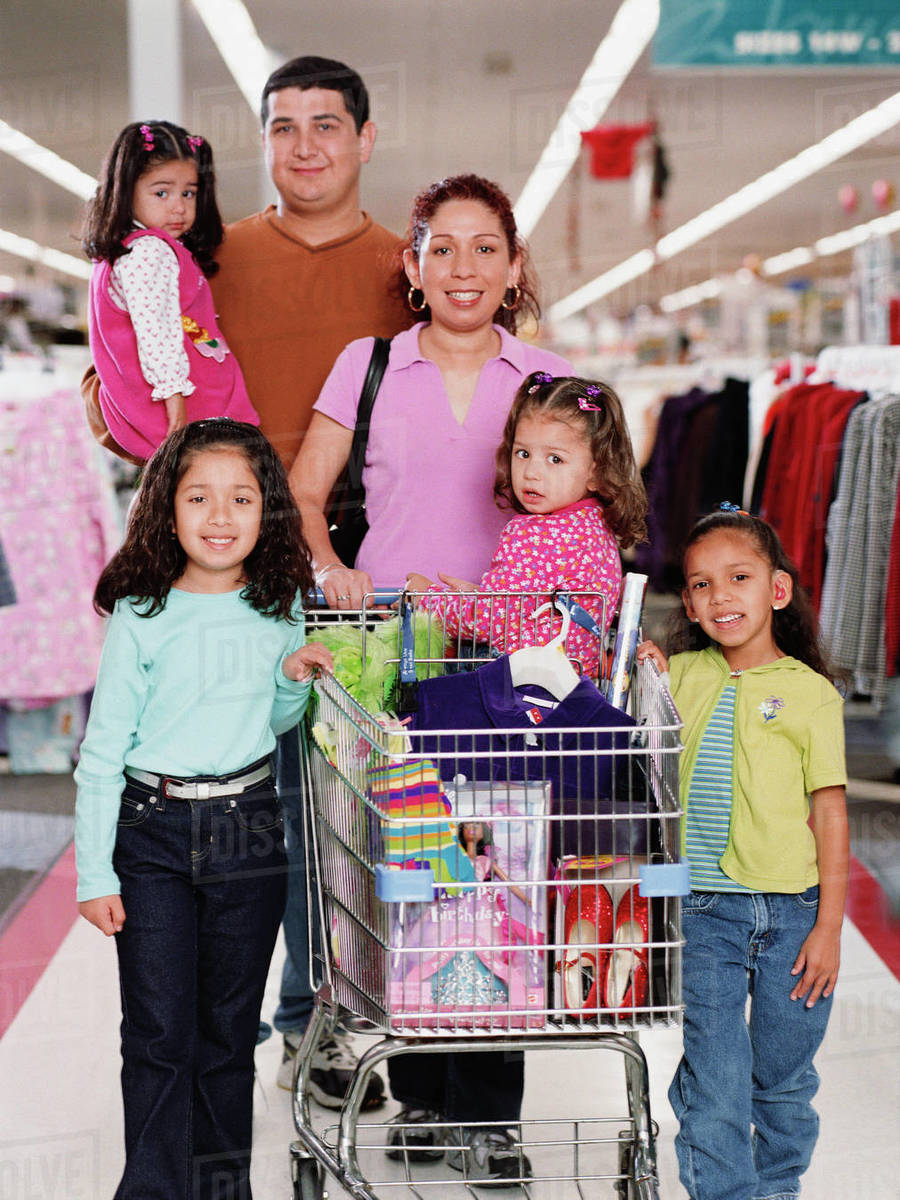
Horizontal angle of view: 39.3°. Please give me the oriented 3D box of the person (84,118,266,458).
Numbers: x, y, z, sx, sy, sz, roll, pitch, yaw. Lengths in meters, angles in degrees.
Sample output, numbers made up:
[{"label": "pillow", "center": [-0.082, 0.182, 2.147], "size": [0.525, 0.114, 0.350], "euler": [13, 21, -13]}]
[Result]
[{"label": "person", "center": [-0.608, -0.654, 2.671], "size": [0.382, 0.726, 0.346], "euler": [0, 5, -5]}]

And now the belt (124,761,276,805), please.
[{"label": "belt", "center": [-0.347, 0.257, 1.771], "size": [0.205, 0.046, 0.061], "euler": [-2, 5, -25]}]

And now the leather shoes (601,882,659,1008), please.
[{"label": "leather shoes", "center": [0.223, 0.424, 1.550], "size": [0.052, 0.155, 0.064], "euler": [2, -5, 8]}]
